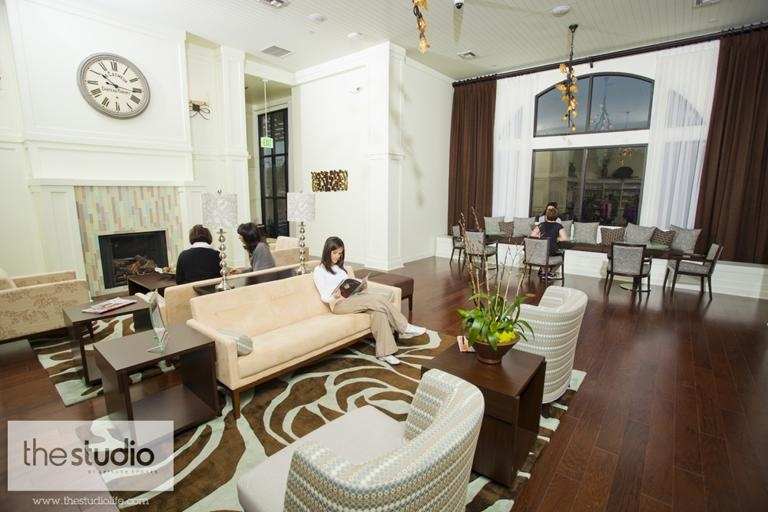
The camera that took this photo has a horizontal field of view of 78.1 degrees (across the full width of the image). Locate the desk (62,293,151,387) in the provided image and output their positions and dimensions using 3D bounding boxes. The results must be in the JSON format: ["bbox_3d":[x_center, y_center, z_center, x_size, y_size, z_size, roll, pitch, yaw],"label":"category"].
[{"bbox_3d":[-3.490,1.048,5.894,0.627,0.858,0.848,10,15,31],"label":"desk"}]

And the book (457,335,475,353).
[{"bbox_3d":[0.894,0.947,5.129,0.168,0.183,0.057,-4,-13,17],"label":"book"}]

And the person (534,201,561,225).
[{"bbox_3d":[3.556,-0.949,10.220,0.669,0.608,0.358,-1,-14,23],"label":"person"}]

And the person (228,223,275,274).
[{"bbox_3d":[-2.078,-0.080,7.292,0.643,0.878,0.547,-6,12,-2],"label":"person"}]

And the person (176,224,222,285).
[{"bbox_3d":[-2.681,0.041,6.865,0.583,0.994,0.549,1,0,-17],"label":"person"}]

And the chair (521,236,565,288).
[{"bbox_3d":[3.083,0.082,9.121,0.661,1.015,0.657,-20,23,-36],"label":"chair"}]

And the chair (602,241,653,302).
[{"bbox_3d":[4.467,0.202,8.594,0.674,0.985,0.954,5,14,34],"label":"chair"}]

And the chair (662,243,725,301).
[{"bbox_3d":[5.604,0.308,8.594,0.982,1.479,1.026,6,9,35],"label":"chair"}]

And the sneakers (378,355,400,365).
[{"bbox_3d":[0.065,1.341,6.298,0.300,0.132,0.115,3,8,30],"label":"sneakers"}]

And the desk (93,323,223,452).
[{"bbox_3d":[-2.467,1.339,5.511,1.137,1.355,1.305,20,26,41],"label":"desk"}]

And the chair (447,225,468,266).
[{"bbox_3d":[1.821,-0.296,10.969,0.510,0.841,0.544,-5,15,-20],"label":"chair"}]

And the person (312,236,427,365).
[{"bbox_3d":[-0.247,0.527,6.447,1.589,1.286,0.840,16,27,30],"label":"person"}]

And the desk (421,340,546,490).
[{"bbox_3d":[1.247,1.491,5.414,1.226,1.329,1.316,7,13,38],"label":"desk"}]

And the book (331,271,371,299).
[{"bbox_3d":[-0.485,0.389,6.461,0.269,0.355,0.105,27,26,-34],"label":"book"}]
